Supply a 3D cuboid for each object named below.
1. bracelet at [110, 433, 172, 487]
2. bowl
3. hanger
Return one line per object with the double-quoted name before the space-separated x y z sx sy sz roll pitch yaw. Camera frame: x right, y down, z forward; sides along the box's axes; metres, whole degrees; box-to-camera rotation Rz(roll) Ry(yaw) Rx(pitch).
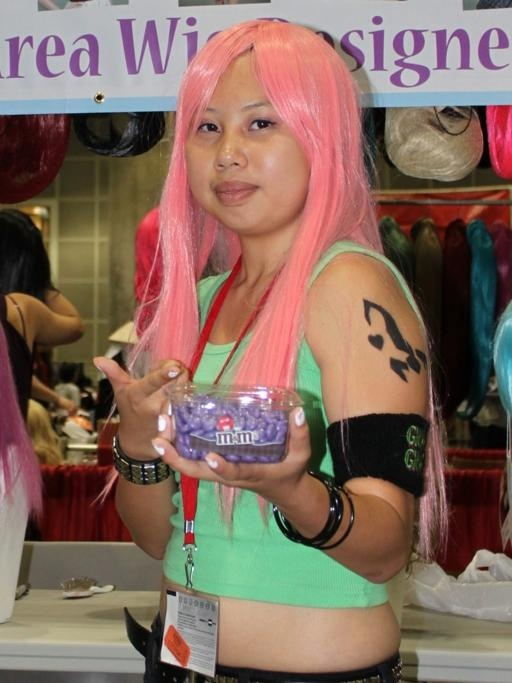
"bracelet" -0.152 0.144 0.789 0.071 0.030 0.073 5 10 2
"bowl" -0.025 0.067 0.494 0.123 0.051 0.067 2 8 27
"hanger" 0.826 -0.582 2.708 0.485 0.033 0.268 2 28 4
